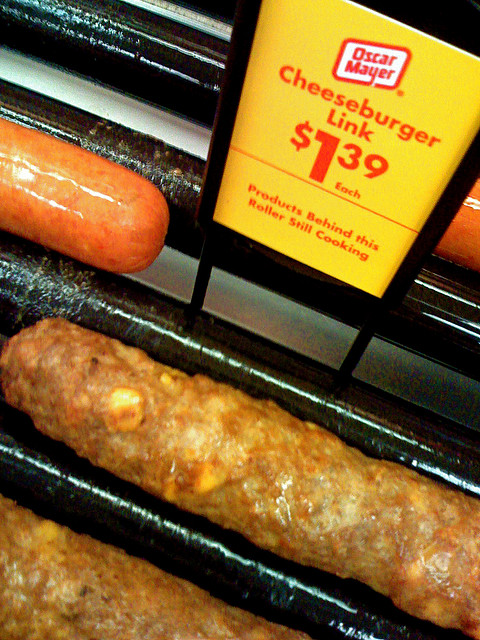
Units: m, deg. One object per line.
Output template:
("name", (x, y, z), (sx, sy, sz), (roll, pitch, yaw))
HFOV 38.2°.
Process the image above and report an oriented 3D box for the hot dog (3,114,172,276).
("hot dog", (-0.243, -0.136, 1.124), (0.310, 0.135, 0.169), (35, 58, 4))
